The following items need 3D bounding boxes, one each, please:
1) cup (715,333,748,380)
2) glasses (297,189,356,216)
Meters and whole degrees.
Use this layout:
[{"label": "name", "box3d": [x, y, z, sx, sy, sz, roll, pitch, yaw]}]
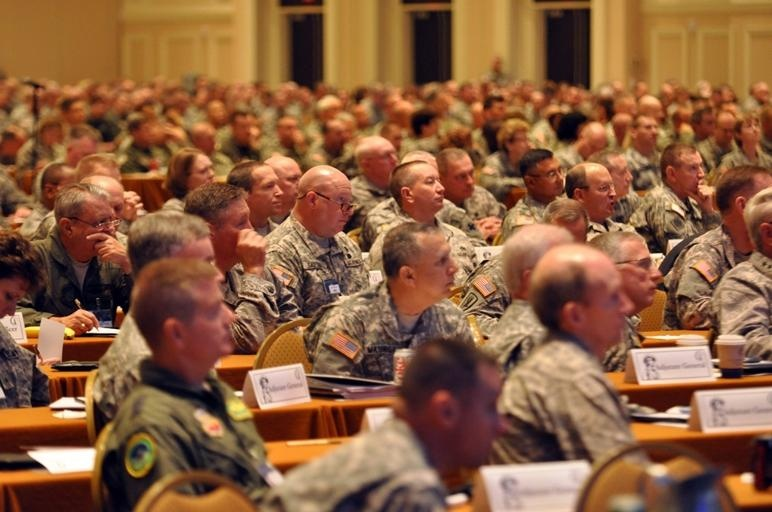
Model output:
[{"label": "cup", "box3d": [1.733, 0.497, 3.629, 0.183, 0.210, 0.187, -1, -1, 0]}, {"label": "glasses", "box3d": [-0.420, -0.426, 5.602, 0.225, 0.061, 0.227, 22, 3, 26]}]
